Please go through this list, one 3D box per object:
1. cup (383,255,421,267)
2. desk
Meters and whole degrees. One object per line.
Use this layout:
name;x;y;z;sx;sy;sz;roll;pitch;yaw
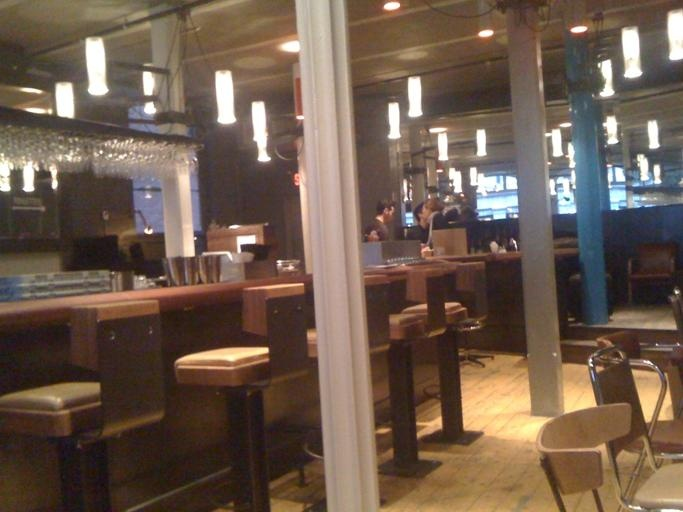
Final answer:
cup;0.497;0.035;4.907;0.437;0.069;0.032;-2;6;-44
desk;2.130;0.417;7.538;1.440;1.054;1.235;0;4;33
